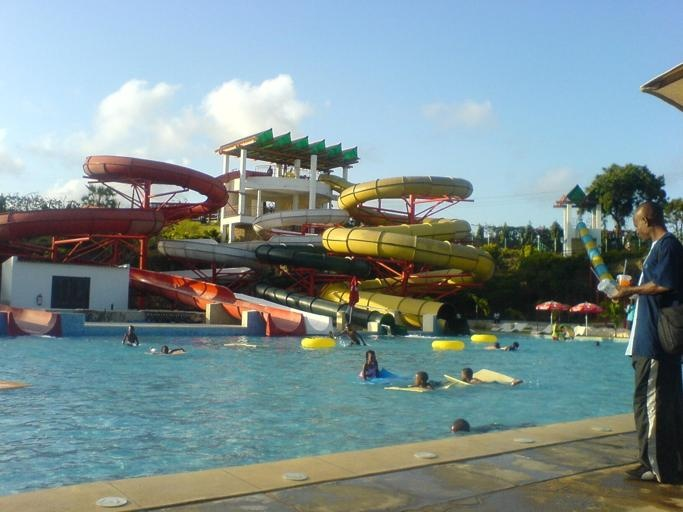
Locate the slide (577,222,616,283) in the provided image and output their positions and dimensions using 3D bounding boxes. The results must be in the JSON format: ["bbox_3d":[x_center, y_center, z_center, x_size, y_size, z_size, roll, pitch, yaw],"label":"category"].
[{"bbox_3d":[12.949,-0.082,33.947,0.878,4.362,0.660,-32,-48,23],"label":"slide"}]

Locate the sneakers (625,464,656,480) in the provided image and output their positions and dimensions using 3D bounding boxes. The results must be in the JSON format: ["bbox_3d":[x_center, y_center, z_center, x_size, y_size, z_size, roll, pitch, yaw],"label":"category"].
[{"bbox_3d":[2.149,1.591,4.862,0.233,0.090,0.065,1,-40,43],"label":"sneakers"}]

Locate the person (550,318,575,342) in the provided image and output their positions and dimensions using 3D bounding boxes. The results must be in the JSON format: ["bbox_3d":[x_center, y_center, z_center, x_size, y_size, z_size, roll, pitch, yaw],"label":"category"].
[{"bbox_3d":[7.890,2.717,23.879,0.829,0.474,1.113,1,0,5],"label":"person"}]

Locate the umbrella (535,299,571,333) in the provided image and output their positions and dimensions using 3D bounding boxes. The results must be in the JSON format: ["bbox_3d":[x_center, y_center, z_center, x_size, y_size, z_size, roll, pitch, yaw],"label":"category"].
[{"bbox_3d":[9.697,2.802,30.371,1.828,1.466,1.583,-2,0,-14],"label":"umbrella"}]

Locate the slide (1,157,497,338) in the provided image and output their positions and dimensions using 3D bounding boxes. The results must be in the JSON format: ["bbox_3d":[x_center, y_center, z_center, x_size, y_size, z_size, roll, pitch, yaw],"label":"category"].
[{"bbox_3d":[-3.614,-0.663,28.300,18.631,4.427,12.555,1,-5,-3],"label":"slide"}]

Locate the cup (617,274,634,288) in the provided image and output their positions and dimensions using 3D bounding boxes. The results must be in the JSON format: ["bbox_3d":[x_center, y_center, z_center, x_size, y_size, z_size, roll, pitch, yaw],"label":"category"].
[{"bbox_3d":[2.238,0.200,5.191,0.143,0.086,0.123,0,2,11],"label":"cup"}]
